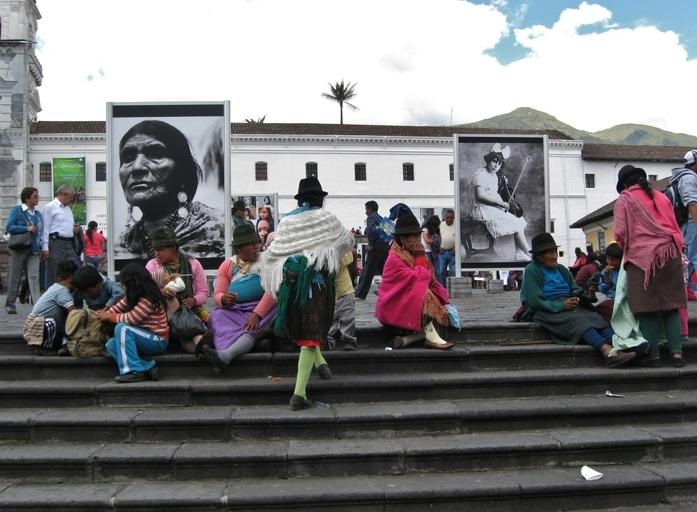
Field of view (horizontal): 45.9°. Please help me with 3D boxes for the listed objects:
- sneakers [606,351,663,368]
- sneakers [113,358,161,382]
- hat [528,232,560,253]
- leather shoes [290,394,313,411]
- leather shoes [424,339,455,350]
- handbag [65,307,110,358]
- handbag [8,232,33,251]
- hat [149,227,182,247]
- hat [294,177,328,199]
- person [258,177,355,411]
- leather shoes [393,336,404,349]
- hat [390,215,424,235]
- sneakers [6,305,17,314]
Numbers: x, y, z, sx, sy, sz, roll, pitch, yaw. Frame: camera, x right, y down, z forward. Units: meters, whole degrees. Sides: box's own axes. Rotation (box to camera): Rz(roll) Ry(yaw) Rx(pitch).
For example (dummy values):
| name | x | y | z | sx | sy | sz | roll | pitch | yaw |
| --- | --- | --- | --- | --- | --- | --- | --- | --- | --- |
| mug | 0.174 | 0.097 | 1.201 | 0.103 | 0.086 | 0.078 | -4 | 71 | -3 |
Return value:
| name | x | y | z | sx | sy | sz | roll | pitch | yaw |
| --- | --- | --- | --- | --- | --- | --- | --- | --- | --- |
| sneakers | 3.487 | 1.282 | 10.069 | 0.716 | 0.285 | 0.244 | -5 | -7 | 1 |
| sneakers | -2.475 | 1.392 | 9.672 | 0.551 | 0.220 | 0.179 | 5 | -8 | -30 |
| hat | 2.551 | -0.155 | 10.722 | 0.296 | 0.148 | 0.268 | -19 | -4 | 36 |
| leather shoes | -0.537 | 1.665 | 9.360 | 0.119 | 0.111 | 0.263 | 0 | 0 | 31 |
| leather shoes | 1.135 | 1.099 | 10.236 | 0.364 | 0.138 | 0.118 | -6 | -7 | 16 |
| handbag | -3.067 | 0.945 | 10.170 | 0.474 | 0.597 | 0.608 | 3 | 2 | 2 |
| handbag | -5.188 | -0.240 | 13.020 | 0.305 | 0.294 | 0.121 | -2 | 4 | -7 |
| hat | -2.276 | -0.220 | 10.380 | 0.289 | 0.133 | 0.284 | 4 | -3 | -40 |
| hat | -0.436 | -0.797 | 9.661 | 0.332 | 0.163 | 0.251 | -7 | 3 | -44 |
| person | -0.488 | 0.413 | 9.841 | 1.241 | 2.590 | 1.197 | -1 | 5 | 3 |
| leather shoes | 0.618 | 1.077 | 10.220 | 0.102 | 0.153 | 0.056 | 5 | -4 | 7 |
| hat | 0.749 | -0.369 | 10.550 | 0.287 | 0.141 | 0.277 | -10 | -3 | 22 |
| sneakers | -5.298 | 0.851 | 12.927 | 0.081 | 0.092 | 0.250 | -2 | -3 | -35 |
